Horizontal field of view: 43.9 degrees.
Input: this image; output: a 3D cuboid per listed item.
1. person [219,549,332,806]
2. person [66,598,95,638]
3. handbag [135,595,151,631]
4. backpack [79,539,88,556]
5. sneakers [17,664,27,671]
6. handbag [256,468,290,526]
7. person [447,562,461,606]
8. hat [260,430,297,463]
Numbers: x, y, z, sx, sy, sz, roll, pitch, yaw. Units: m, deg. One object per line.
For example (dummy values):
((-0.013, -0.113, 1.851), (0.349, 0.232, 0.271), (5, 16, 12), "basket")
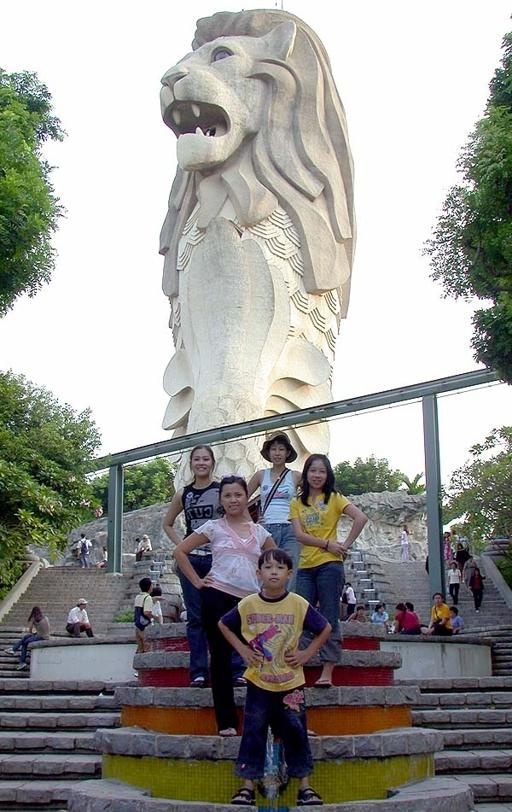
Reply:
((0.077, 1.043, 2.464), (0.441, 0.947, 0.368), (0, -9, -4), "person")
((-3.317, 4.014, 11.851), (0.429, 0.744, 1.344), (2, -10, -16), "person")
((-1.586, 2.900, 8.898), (0.224, 0.491, 0.426), (0, -10, -9), "handbag")
((-6.178, 5.050, 22.713), (0.250, 0.531, 0.463), (3, -10, -24), "backpack")
((-3.867, 4.331, 10.516), (0.189, 0.089, 0.065), (-7, -12, 25), "sneakers")
((0.085, 0.601, 4.490), (0.145, 0.453, 0.176), (9, -9, 29), "handbag")
((4.874, 4.370, 15.673), (0.297, 1.041, 1.015), (-4, -10, 16), "person")
((0.162, 0.275, 4.473), (0.196, 0.145, 0.270), (3, -52, 6), "hat")
